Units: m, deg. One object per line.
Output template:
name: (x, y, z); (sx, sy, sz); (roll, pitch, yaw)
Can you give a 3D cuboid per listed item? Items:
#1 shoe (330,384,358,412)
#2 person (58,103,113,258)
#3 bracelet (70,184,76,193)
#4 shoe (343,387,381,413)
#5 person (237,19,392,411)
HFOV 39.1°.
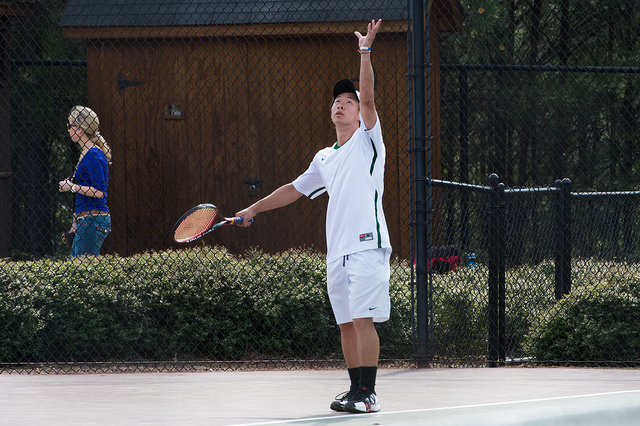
shoe: (0.264, 2.038, 9.918); (0.135, 0.232, 0.440); (-2, -11, 29)
person: (-3.205, -0.414, 12.367); (0.583, 1.997, 0.864); (-1, 13, 0)
bracelet: (-3.330, -0.321, 12.134); (0.028, 0.097, 0.061); (15, 29, 28)
shoe: (0.457, 2.052, 9.848); (0.391, 0.244, 0.131); (-1, 13, 3)
person: (0.315, 0.071, 10.045); (0.943, 3.963, 1.370); (-5, 13, -16)
